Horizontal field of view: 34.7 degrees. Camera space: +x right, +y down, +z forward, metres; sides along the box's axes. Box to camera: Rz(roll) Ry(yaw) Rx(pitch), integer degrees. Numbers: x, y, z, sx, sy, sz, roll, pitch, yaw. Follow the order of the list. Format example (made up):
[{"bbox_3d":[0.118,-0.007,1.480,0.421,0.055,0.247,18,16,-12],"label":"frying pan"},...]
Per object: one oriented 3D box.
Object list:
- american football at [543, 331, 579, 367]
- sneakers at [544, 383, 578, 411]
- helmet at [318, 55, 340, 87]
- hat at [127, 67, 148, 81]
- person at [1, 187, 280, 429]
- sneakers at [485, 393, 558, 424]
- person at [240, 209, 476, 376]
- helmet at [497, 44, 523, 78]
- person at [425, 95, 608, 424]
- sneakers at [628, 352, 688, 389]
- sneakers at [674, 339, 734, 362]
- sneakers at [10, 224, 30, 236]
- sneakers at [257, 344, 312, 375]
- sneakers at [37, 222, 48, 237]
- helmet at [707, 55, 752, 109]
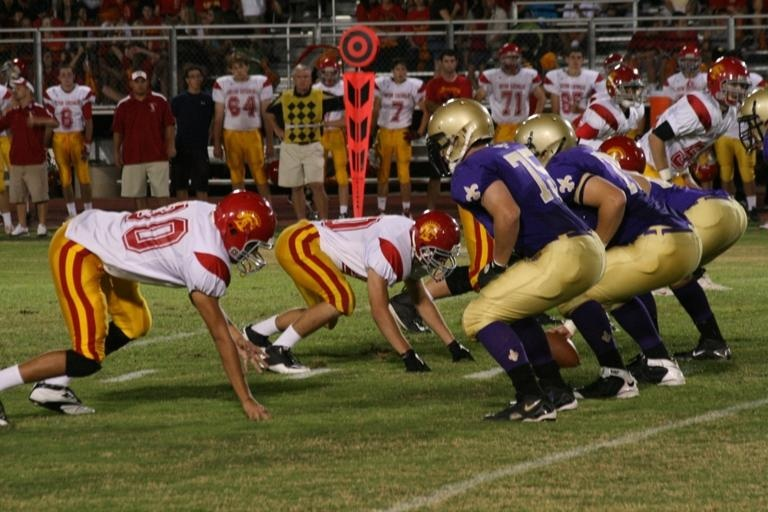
[{"bbox_3d":[1.230,0.643,8.482,0.099,0.252,0.215,-34,-16,-14],"label":"american football"},{"bbox_3d":[1.144,0.914,7.883,0.257,0.118,0.104,7,11,26],"label":"sneakers"},{"bbox_3d":[-0.618,-2.058,13.702,0.255,0.328,0.363,-4,14,-2],"label":"helmet"},{"bbox_3d":[-2.655,-1.937,13.270,0.137,0.103,0.213,-3,6,-20],"label":"hat"},{"bbox_3d":[-1.505,0.249,7.738,1.996,1.543,1.121,5,9,-3],"label":"person"},{"bbox_3d":[0.873,0.981,7.828,0.469,0.189,0.170,-1,-5,3],"label":"sneakers"},{"bbox_3d":[-0.221,0.168,8.474,1.818,1.150,0.830,5,5,19],"label":"person"},{"bbox_3d":[1.455,-2.260,14.145,0.249,0.348,0.344,-5,19,-4],"label":"helmet"},{"bbox_3d":[0.842,0.017,7.811,1.109,2.032,0.576,0,5,13],"label":"person"},{"bbox_3d":[1.839,0.760,8.327,0.426,0.182,0.160,9,20,30],"label":"sneakers"},{"bbox_3d":[2.292,0.664,8.709,0.446,0.177,0.157,1,-2,12],"label":"sneakers"},{"bbox_3d":[-4.055,-0.276,13.661,0.084,0.107,0.249,4,3,13],"label":"sneakers"},{"bbox_3d":[-0.701,0.734,8.567,0.429,0.207,0.144,3,3,-6],"label":"sneakers"},{"bbox_3d":[-3.785,-0.284,13.585,0.088,0.102,0.238,0,1,-22],"label":"sneakers"},{"bbox_3d":[2.695,-1.344,9.574,0.311,0.391,0.390,-16,28,-27],"label":"helmet"}]
